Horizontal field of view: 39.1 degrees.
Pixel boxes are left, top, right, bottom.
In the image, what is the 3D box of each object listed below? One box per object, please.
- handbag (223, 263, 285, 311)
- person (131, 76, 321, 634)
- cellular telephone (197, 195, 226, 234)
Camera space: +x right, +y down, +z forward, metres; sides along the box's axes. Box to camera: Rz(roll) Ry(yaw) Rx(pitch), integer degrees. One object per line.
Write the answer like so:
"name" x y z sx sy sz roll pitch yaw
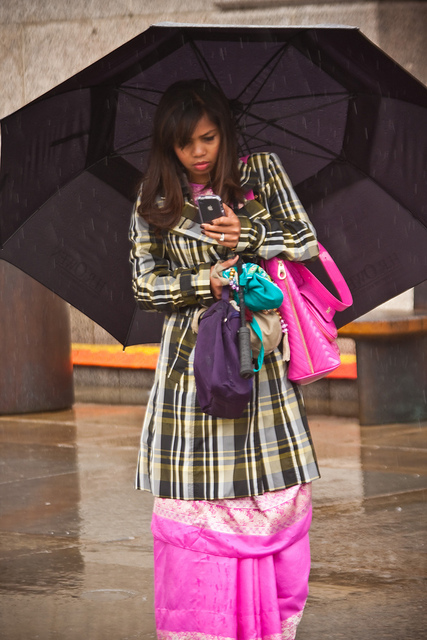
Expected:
"handbag" 0.097 -0.089 1.606 0.195 0.072 0.144 6 17 -18
"person" -0.005 0.114 1.697 0.555 1.693 0.555 -2 2 18
"cellular telephone" 0.000 -0.304 1.628 0.071 0.071 0.092 -2 2 1
